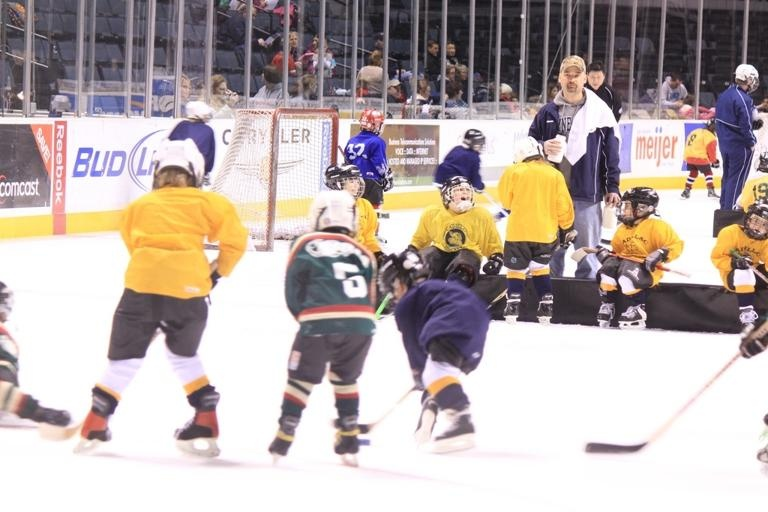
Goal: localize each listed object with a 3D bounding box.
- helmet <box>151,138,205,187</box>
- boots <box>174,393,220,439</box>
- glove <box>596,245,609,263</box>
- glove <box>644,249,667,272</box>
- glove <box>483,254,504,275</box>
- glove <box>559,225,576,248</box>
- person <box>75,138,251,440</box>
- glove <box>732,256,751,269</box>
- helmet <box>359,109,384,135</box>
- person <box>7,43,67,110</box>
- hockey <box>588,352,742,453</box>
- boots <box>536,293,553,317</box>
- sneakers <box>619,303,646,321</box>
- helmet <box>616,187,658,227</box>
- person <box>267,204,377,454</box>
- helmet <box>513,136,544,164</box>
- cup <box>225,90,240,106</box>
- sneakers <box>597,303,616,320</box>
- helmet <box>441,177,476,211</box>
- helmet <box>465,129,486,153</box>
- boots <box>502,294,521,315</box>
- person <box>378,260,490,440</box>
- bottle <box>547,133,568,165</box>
[{"bbox_3d":[-1.175,-0.579,5.248,0.231,0.296,0.302,3,17,-5],"label":"helmet"},{"bbox_3d":[-1.038,0.923,5.038,0.306,0.303,0.130,-8,-11,20],"label":"boots"},{"bbox_3d":[1.861,-0.015,7.722,0.049,0.128,0.090,2,12,-15],"label":"glove"},{"bbox_3d":[2.237,0.033,7.453,0.180,0.170,0.095,1,12,-1],"label":"glove"},{"bbox_3d":[0.927,0.081,7.663,0.130,0.184,0.088,18,-21,9],"label":"glove"},{"bbox_3d":[1.559,-0.163,7.720,0.089,0.241,0.102,4,31,0],"label":"glove"},{"bbox_3d":[-1.203,0.342,5.011,0.839,1.386,0.457,1,12,-3],"label":"person"},{"bbox_3d":[2.871,0.054,7.296,0.090,0.055,0.116,20,-11,-40],"label":"glove"},{"bbox_3d":[-0.162,-1.569,10.566,0.224,0.274,0.296,15,18,21],"label":"helmet"},{"bbox_3d":[-4.231,-2.220,11.120,0.216,0.821,0.797,9,14,32],"label":"person"},{"bbox_3d":[1.631,0.832,5.263,0.969,0.587,0.325,-4,13,-23],"label":"hockey"},{"bbox_3d":[1.363,0.416,7.687,0.113,0.217,0.195,2,12,4],"label":"boots"},{"bbox_3d":[2.081,0.485,7.617,0.262,0.111,0.095,2,-2,-14],"label":"sneakers"},{"bbox_3d":[2.138,-0.431,7.659,0.332,0.321,0.267,-2,6,7],"label":"helmet"},{"bbox_3d":[-0.332,0.508,4.994,0.540,1.228,0.414,2,12,0],"label":"person"},{"bbox_3d":[1.235,-0.898,7.687,0.240,0.214,0.255,4,12,10],"label":"helmet"},{"bbox_3d":[-2.189,-2.292,13.135,0.071,0.209,0.155,-9,21,33],"label":"cup"},{"bbox_3d":[1.882,0.470,7.656,0.139,0.157,0.152,5,12,15],"label":"sneakers"},{"bbox_3d":[0.678,-0.520,7.638,0.242,0.279,0.321,-2,-12,9],"label":"helmet"},{"bbox_3d":[0.850,-1.055,8.281,0.170,0.206,0.210,1,-9,-11],"label":"helmet"},{"bbox_3d":[1.098,0.420,7.765,0.144,0.233,0.212,3,12,8],"label":"boots"},{"bbox_3d":[0.326,0.543,5.309,0.508,1.029,0.901,-1,12,-14],"label":"person"},{"bbox_3d":[1.481,-0.916,7.810,0.195,0.239,0.105,-1,12,-13],"label":"bottle"}]
